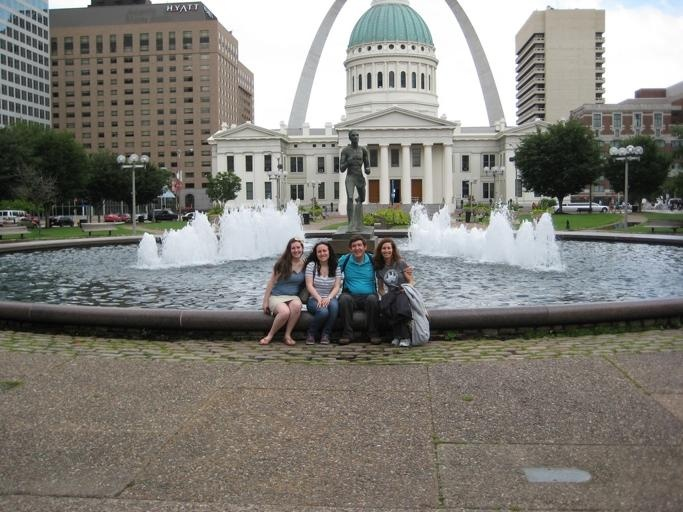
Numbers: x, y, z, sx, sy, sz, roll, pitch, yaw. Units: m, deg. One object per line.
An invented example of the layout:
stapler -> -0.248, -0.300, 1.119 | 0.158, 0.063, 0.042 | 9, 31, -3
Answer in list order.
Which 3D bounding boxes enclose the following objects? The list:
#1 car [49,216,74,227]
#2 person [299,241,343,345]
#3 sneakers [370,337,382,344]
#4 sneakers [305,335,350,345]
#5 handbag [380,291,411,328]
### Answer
car -> -28.111, -3.434, 62.659 | 1.537, 1.016, 2.988 | 0, -1, -4
person -> -0.277, 0.537, 9.683 | 0.587, 1.489, 0.660 | -1, 7, -3
sneakers -> 0.531, 1.259, 9.516 | 0.175, 0.089, 0.224 | 0, 7, 2
sneakers -> -0.194, 1.251, 9.491 | 0.671, 0.139, 0.218 | 0, 7, 5
handbag -> 0.833, 0.782, 9.356 | 0.472, 0.526, 0.326 | 0, -32, -24
